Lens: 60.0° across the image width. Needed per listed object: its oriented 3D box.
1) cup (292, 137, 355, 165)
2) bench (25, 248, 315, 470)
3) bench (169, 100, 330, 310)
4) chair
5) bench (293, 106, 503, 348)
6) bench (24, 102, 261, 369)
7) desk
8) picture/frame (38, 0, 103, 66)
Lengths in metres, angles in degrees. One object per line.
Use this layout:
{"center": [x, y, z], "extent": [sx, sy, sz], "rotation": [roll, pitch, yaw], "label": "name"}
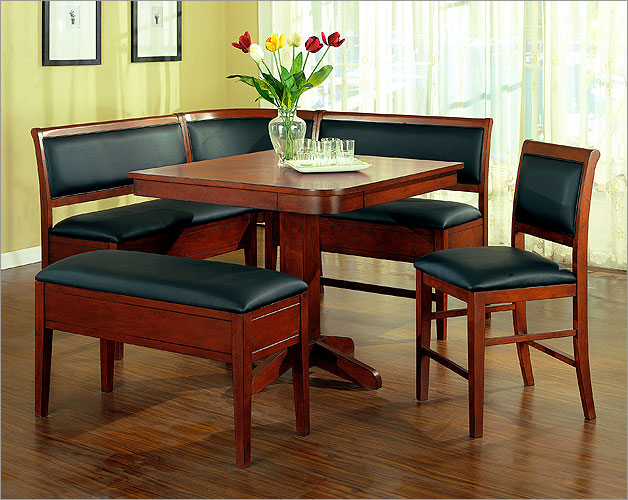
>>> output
{"center": [0.030, -0.405, 2.280], "extent": [0.241, 0.080, 0.145], "rotation": [6, 9, 28], "label": "cup"}
{"center": [-0.493, 0.405, 1.913], "extent": [0.863, 0.366, 0.336], "rotation": [5, 9, 24], "label": "bench"}
{"center": [-0.460, -0.295, 3.426], "extent": [1.106, 1.114, 0.903], "rotation": [-10, 25, 8], "label": "bench"}
{"center": [0.741, 0.109, 2.122], "extent": [0.707, 0.867, 0.593], "rotation": [-13, 11, 3], "label": "chair"}
{"center": [0.374, -0.261, 3.170], "extent": [1.133, 0.935, 0.615], "rotation": [11, 39, 28], "label": "bench"}
{"center": [-0.888, -0.240, 3.046], "extent": [0.699, 0.821, 1.047], "rotation": [21, 24, 17], "label": "bench"}
{"center": [-0.041, 0.124, 2.462], "extent": [1.545, 0.800, 1.330], "rotation": [5, 5, 17], "label": "desk"}
{"center": [-1.787, -1.598, 4.043], "extent": [0.096, 0.512, 0.485], "rotation": [7, 16, 28], "label": "picture/frame"}
